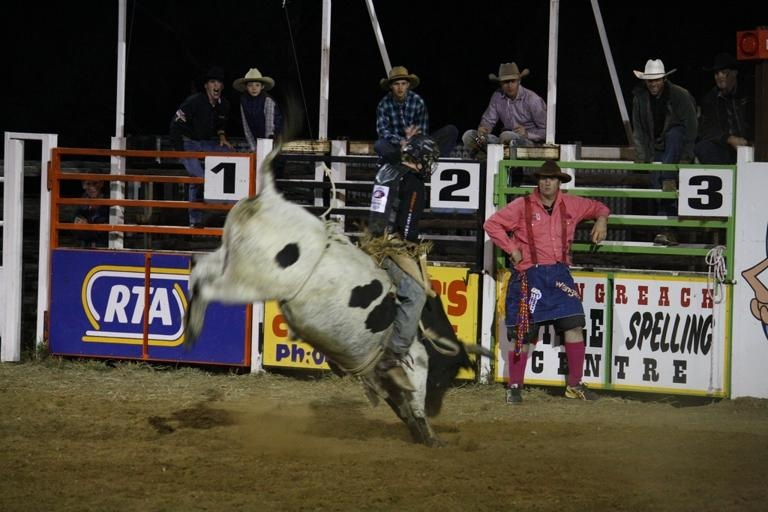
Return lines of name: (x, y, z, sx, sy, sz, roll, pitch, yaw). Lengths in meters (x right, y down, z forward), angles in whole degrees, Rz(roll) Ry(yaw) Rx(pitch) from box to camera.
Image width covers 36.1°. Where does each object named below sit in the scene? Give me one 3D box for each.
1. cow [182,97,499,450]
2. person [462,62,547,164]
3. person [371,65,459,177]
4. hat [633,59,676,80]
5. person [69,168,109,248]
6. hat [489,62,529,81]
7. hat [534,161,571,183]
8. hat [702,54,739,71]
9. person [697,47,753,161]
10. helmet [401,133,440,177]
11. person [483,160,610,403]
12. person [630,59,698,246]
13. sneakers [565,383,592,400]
cow: (-0.109, 0.542, 13.940, 4.188, 2.627, 1.165, 27, -10, -16)
person: (1.838, -2.106, 17.717, 1.391, 1.373, 1.180, 2, 11, 11)
person: (0.217, -2.049, 17.128, 1.400, 1.309, 0.906, -11, 11, -28)
hat: (3.937, -2.686, 17.097, 0.543, 0.202, 0.580, 3, 13, 25)
person: (-4.424, -0.651, 17.821, 0.528, 1.034, 1.992, 2, -1, -14)
hat: (1.909, -2.766, 17.855, 0.509, 0.179, 0.507, -2, 1, 9)
hat: (2.211, -1.124, 15.396, 0.459, 0.280, 0.260, 1, -2, -4)
hat: (4.974, -2.860, 17.524, 0.432, 0.169, 0.474, -3, 2, -12)
person: (4.979, -2.169, 17.278, 0.779, 1.630, 0.890, 1, -2, 16)
helmet: (0.411, -1.256, 14.277, 0.542, 0.444, 0.391, 12, 6, -9)
person: (2.111, 0.338, 15.505, 1.468, 3.159, 0.598, 1, -2, 9)
person: (3.984, -1.518, 16.661, 0.861, 2.718, 1.405, 1, -2, 6)
sneakers: (2.580, 1.811, 15.699, 0.391, 0.172, 0.136, 1, 5, 11)
